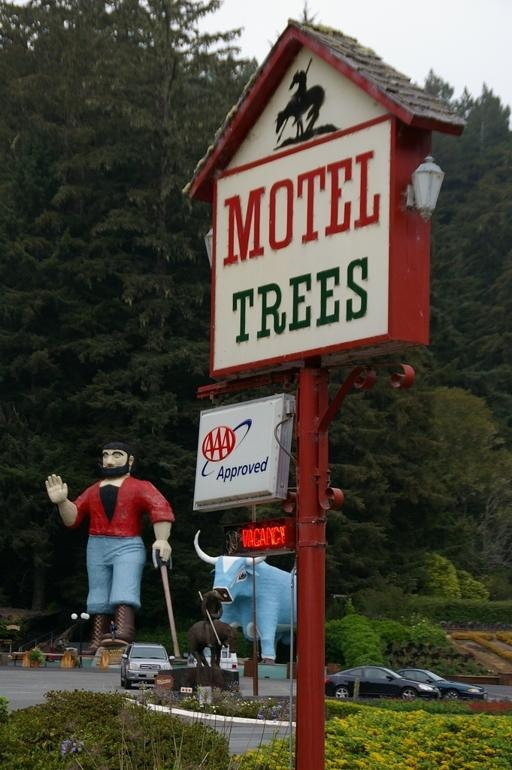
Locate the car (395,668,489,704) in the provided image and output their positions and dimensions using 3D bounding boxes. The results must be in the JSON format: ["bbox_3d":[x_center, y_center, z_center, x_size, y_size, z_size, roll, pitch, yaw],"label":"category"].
[{"bbox_3d":[4.066,6.481,28.333,1.767,0.668,0.799,-5,-9,20],"label":"car"}]

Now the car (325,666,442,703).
[{"bbox_3d":[2.643,6.216,27.206,2.341,0.845,1.079,-1,-12,6],"label":"car"}]
